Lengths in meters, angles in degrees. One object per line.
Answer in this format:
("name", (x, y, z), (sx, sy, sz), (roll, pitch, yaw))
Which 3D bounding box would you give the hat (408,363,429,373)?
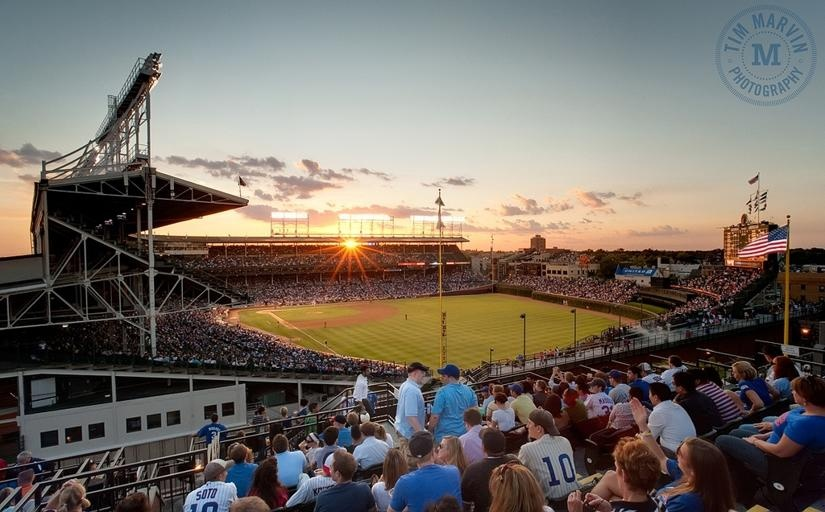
("hat", (0.163, 4.177, 23.327), (0.660, 0.215, 0.378), (0, -2, -9))

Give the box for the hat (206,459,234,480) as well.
("hat", (-6.919, 7.433, 21.969), (0.656, 0.521, 0.997), (-1, 12, 42))

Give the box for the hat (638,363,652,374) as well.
("hat", (9.979, 4.800, 26.644), (0.981, 0.408, 0.410), (4, -13, -45))
